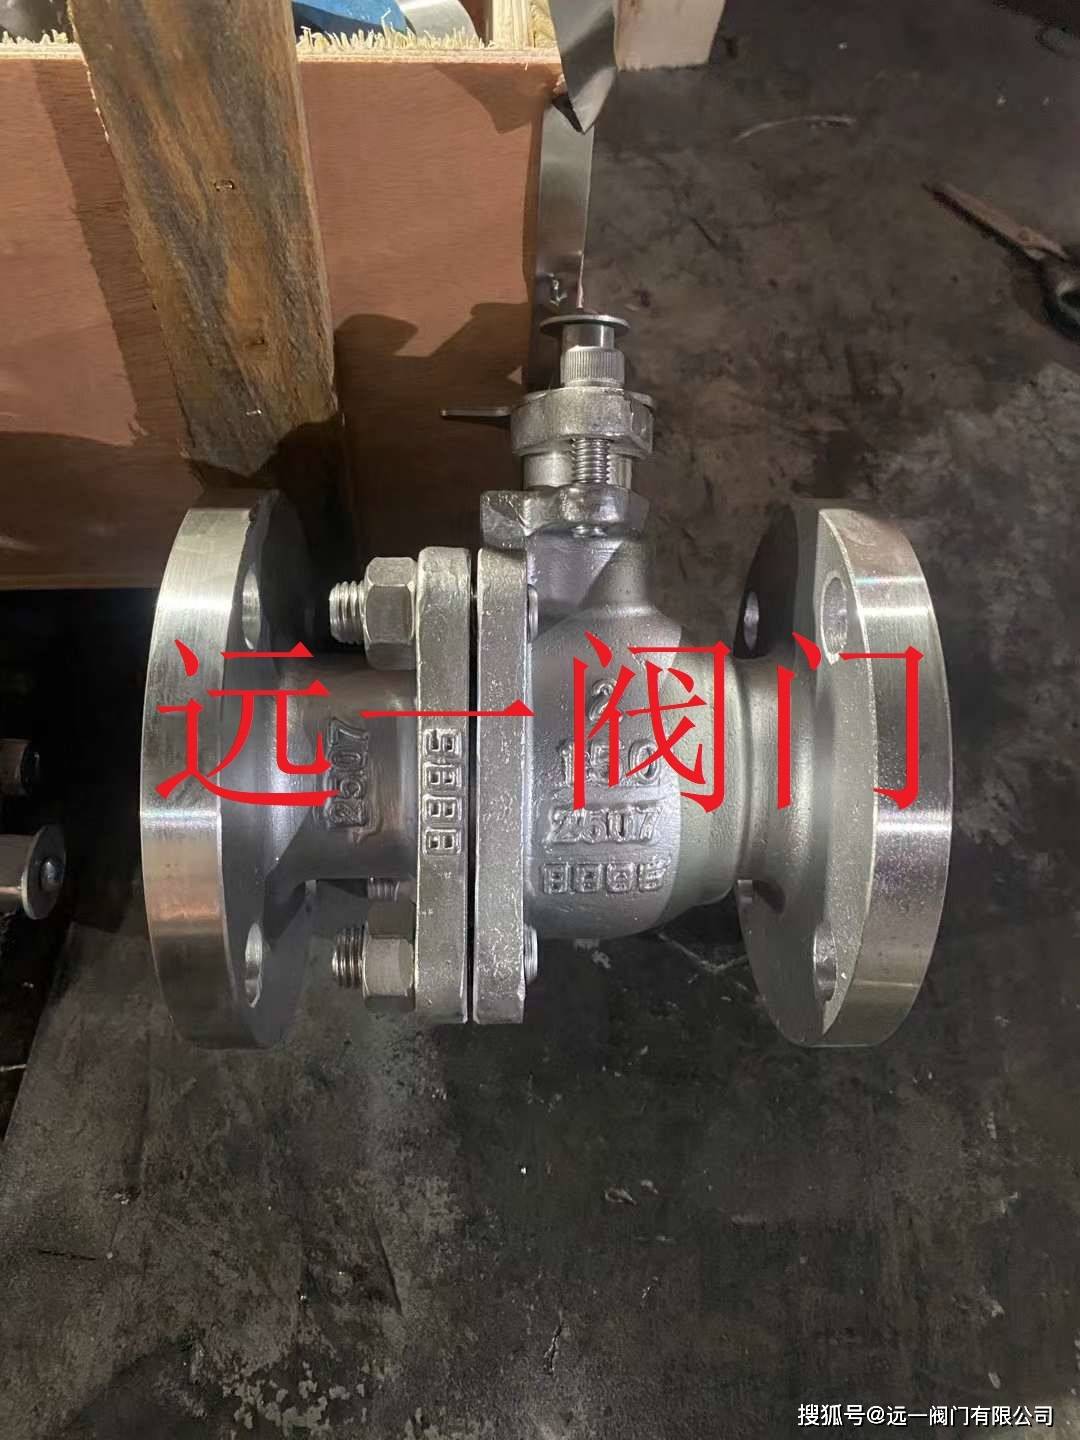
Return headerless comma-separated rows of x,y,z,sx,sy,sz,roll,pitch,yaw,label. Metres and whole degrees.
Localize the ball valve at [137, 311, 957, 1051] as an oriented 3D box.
0.005,-0.025,1.267,0.742,0.512,0.682,-1,96,-2,ball valve
